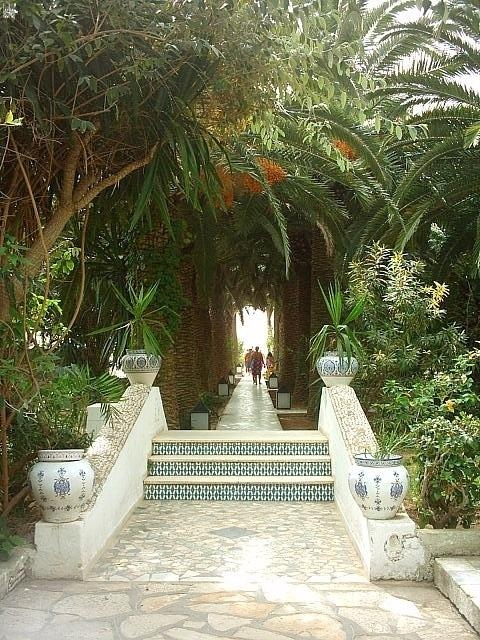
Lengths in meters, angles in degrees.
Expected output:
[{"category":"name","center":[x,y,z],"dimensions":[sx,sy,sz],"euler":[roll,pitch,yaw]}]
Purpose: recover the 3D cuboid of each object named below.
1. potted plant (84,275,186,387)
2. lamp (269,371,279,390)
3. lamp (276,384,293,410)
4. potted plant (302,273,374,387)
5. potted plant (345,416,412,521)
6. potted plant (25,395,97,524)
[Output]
[{"category":"potted plant","center":[-1.189,0.210,5.443],"dimensions":[0.939,1.149,1.024],"euler":[0,11,4]},{"category":"lamp","center":[1.227,2.303,17.576],"dimensions":[0.358,0.670,0.845],"euler":[-1,-12,4]},{"category":"lamp","center":[1.029,1.831,10.973],"dimensions":[0.407,0.536,0.306],"euler":[5,-12,-22]},{"category":"potted plant","center":[1.156,0.186,5.573],"dimensions":[0.698,1.275,0.775],"euler":[4,8,30]},{"category":"potted plant","center":[0.870,0.993,2.961],"dimensions":[0.336,0.468,0.329],"euler":[-6,-11,34]},{"category":"potted plant","center":[-1.103,0.971,2.897],"dimensions":[0.354,0.496,0.356],"euler":[4,-9,-29]}]
